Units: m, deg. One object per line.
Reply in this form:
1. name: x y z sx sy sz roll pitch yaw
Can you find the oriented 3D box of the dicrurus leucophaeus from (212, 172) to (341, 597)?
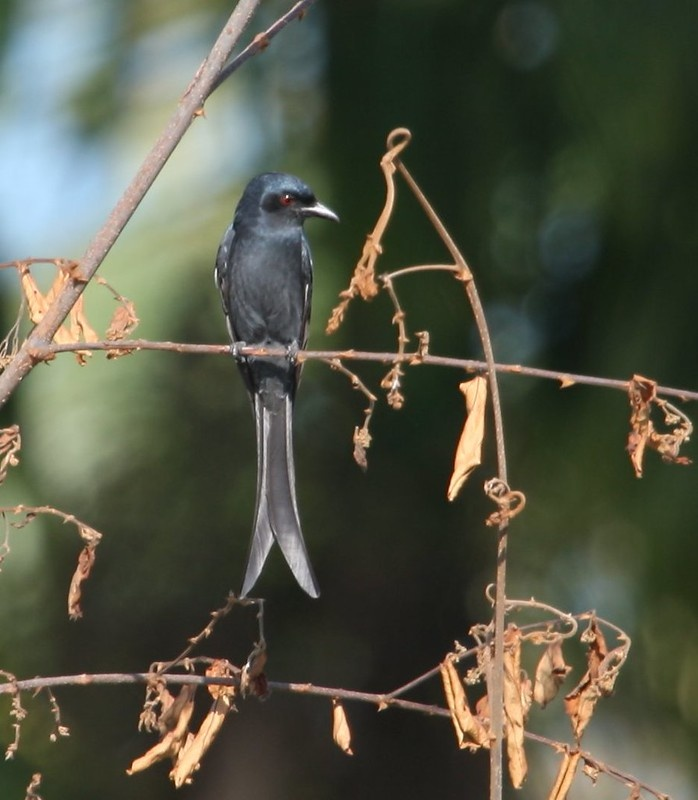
1. dicrurus leucophaeus: -0.292 -0.126 5.087 0.445 1.469 1.204 -1 -68 -5
